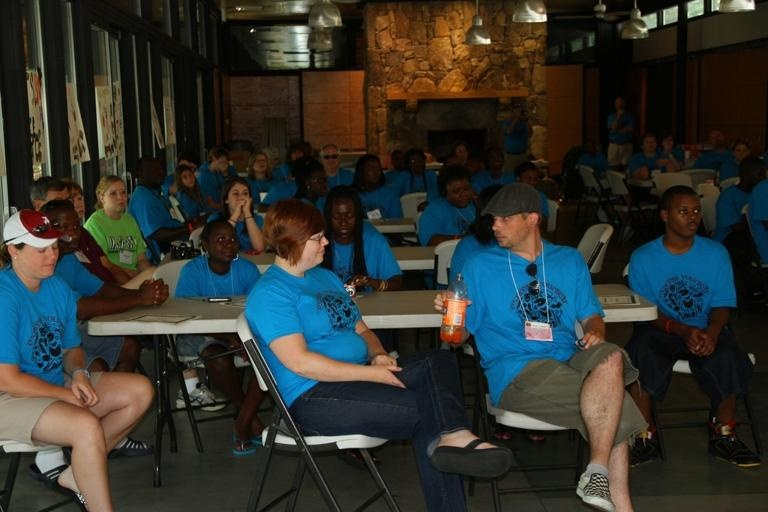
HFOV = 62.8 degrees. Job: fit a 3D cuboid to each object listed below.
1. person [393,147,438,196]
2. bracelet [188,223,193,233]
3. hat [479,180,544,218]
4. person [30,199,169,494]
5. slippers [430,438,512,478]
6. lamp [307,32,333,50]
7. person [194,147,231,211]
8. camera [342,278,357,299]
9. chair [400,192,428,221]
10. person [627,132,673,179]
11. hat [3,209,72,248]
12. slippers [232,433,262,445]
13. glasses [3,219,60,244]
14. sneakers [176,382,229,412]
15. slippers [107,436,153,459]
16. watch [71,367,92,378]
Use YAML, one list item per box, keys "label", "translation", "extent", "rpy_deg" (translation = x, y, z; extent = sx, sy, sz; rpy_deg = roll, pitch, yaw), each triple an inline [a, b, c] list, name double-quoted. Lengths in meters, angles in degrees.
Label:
- label: "person"
  translation: [0.417, -1.089, 8.463]
  extent: [0.747, 0.642, 0.375]
  rpy_deg: [-9, 16, -20]
- label: "bracelet"
  translation: [-1.908, -0.278, 6.239]
  extent: [0.029, 0.086, 0.068]
  rpy_deg: [-6, -10, -13]
- label: "hat"
  translation: [0.697, -0.302, 3.371]
  extent: [0.268, 0.123, 0.183]
  rpy_deg: [6, 7, -5]
- label: "person"
  translation: [-1.774, 0.472, 3.905]
  extent: [1.079, 1.527, 0.728]
  rpy_deg: [-2, -5, -38]
- label: "slippers"
  translation: [0.364, 0.835, 2.630]
  extent: [0.375, 0.124, 0.135]
  rpy_deg: [1, 17, 9]
- label: "lamp"
  translation: [-1.084, -3.681, 10.753]
  extent: [0.331, 0.342, 0.502]
  rpy_deg: [-8, 10, -15]
- label: "person"
  translation: [-2.231, -0.907, 8.467]
  extent: [0.316, 0.986, 0.351]
  rpy_deg: [15, -8, -23]
- label: "camera"
  translation: [-0.215, 0.186, 3.785]
  extent: [0.098, 0.095, 0.118]
  rpy_deg: [0, -17, 6]
- label: "chair"
  translation: [0.342, -0.585, 7.638]
  extent: [0.376, 0.342, 0.425]
  rpy_deg: [-1, -4, 2]
- label: "person"
  translation: [4.308, -1.535, 10.072]
  extent: [0.670, 0.786, 0.694]
  rpy_deg: [-28, 26, -35]
- label: "hat"
  translation: [-1.697, -0.133, 3.095]
  extent: [0.244, 0.119, 0.181]
  rpy_deg: [-2, 8, 6]
- label: "slippers"
  translation: [-0.840, 1.150, 3.926]
  extent: [0.214, 0.051, 0.082]
  rpy_deg: [0, 9, 18]
- label: "glasses"
  translation: [-1.729, -0.120, 3.082]
  extent: [0.199, 0.092, 0.121]
  rpy_deg: [2, 7, -3]
- label: "sneakers"
  translation: [-1.278, 1.015, 4.564]
  extent: [0.422, 0.168, 0.170]
  rpy_deg: [1, 8, -5]
- label: "slippers"
  translation: [-1.563, 1.193, 3.964]
  extent: [0.357, 0.126, 0.110]
  rpy_deg: [-1, 6, -8]
- label: "watch"
  translation: [-1.552, 0.598, 3.243]
  extent: [0.077, 0.026, 0.070]
  rpy_deg: [3, -14, 2]
